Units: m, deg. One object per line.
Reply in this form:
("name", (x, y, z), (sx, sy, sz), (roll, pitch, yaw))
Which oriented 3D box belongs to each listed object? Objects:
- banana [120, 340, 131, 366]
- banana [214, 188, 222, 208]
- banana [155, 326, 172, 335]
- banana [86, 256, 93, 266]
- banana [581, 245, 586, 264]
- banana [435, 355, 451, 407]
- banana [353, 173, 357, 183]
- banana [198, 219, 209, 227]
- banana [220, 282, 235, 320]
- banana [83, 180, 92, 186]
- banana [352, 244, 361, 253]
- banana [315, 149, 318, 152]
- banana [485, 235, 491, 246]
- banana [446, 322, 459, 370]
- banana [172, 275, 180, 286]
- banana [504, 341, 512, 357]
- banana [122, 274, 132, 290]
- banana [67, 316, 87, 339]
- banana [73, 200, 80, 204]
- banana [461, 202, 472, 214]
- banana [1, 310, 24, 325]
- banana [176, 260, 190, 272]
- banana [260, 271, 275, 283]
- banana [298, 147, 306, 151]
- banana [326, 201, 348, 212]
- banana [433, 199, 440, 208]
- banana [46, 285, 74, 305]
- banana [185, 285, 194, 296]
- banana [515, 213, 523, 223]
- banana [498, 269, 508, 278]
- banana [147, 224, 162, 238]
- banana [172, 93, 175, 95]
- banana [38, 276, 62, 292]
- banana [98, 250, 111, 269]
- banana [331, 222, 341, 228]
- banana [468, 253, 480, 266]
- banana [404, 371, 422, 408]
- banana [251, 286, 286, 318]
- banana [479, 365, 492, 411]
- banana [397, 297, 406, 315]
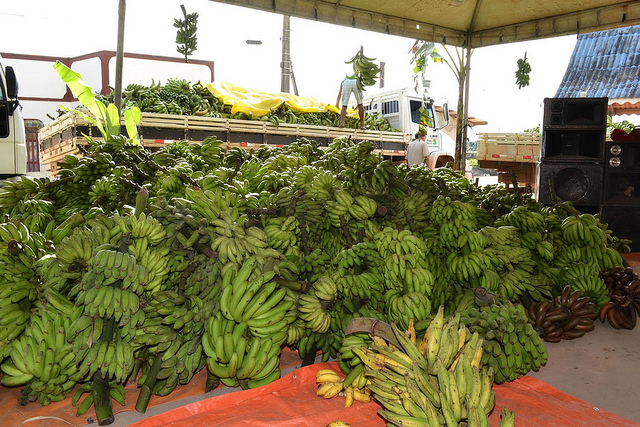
("banana", (-1.133, 0.810, 2.769), (0.040, 0.121, 0.062), (-19, -18, 27))
("banana", (-0.674, -0.104, 3.147), (0.032, 0.131, 0.042), (-14, -20, 31))
("banana", (-0.938, 0.696, 2.829), (0.095, 0.033, 0.032), (-6, 54, -38))
("banana", (-1.361, 0.275, 2.787), (0.014, 0.061, 0.023), (37, 13, -53))
("banana", (2.391, 0.364, 4.252), (0.050, 0.157, 0.030), (2, -4, -24))
("banana", (0.642, 0.878, 2.472), (0.053, 0.219, 0.041), (2, -23, -22))
("banana", (0.281, -0.271, 3.598), (0.029, 0.064, 0.048), (2, 13, -2))
("banana", (-0.720, 0.058, 2.940), (0.043, 0.053, 0.085), (4, 13, 7))
("banana", (-0.555, 0.528, 2.839), (0.080, 0.207, 0.075), (-1, 13, -14))
("banana", (-1.814, -0.239, 3.675), (0.054, 0.025, 0.012), (-4, 14, -28))
("banana", (0.262, 0.237, 3.242), (0.058, 0.032, 0.029), (40, 12, 25))
("banana", (-0.018, -0.571, 4.272), (0.008, 0.030, 0.006), (6, -5, 36))
("banana", (1.270, 0.203, 3.514), (0.026, 0.080, 0.021), (21, -44, -25))
("banana", (0.775, 0.729, 2.692), (0.088, 0.280, 0.059), (0, -26, 30))
("banana", (-0.911, 0.426, 3.003), (0.029, 0.058, 0.020), (42, -8, -27))
("banana", (1.235, 0.877, 3.050), (0.050, 0.086, 0.025), (0, 13, -11))
("banana", (-1.095, 0.391, 2.684), (0.041, 0.079, 0.024), (27, -17, -24))
("banana", (-1.392, 0.653, 2.711), (0.045, 0.159, 0.057), (36, -7, -6))
("banana", (-1.883, -0.089, 3.641), (0.041, 0.028, 0.021), (-3, 14, -23))
("banana", (1.105, -0.052, 3.523), (0.040, 0.031, 0.155), (-18, 26, -1))
("banana", (-1.897, 0.630, 2.895), (0.043, 0.040, 0.132), (-38, -6, 39))
("banana", (-0.855, 0.332, 2.986), (0.097, 0.027, 0.034), (-45, 14, -18))
("banana", (-0.310, 0.385, 2.907), (0.101, 0.032, 0.032), (-31, -13, -48))
("banana", (-0.159, -0.581, 4.261), (0.038, 0.028, 0.009), (-10, -2, 28))
("banana", (0.140, -0.053, 3.362), (0.135, 0.049, 0.027), (21, 4, 16))
("banana", (0.878, -0.076, 3.500), (0.045, 0.052, 0.059), (0, 13, -9))
("banana", (-1.605, 0.497, 2.914), (0.172, 0.108, 0.047), (5, 13, 10))
("banana", (-0.811, 0.481, 2.933), (0.023, 0.087, 0.022), (38, 10, 12))
("banana", (1.694, 0.039, 3.956), (0.026, 0.064, 0.054), (-3, 14, -23))
("banana", (1.468, 0.474, 3.714), (0.010, 0.039, 0.037), (40, 4, -30))
("banana", (-0.990, 0.106, 2.850), (0.086, 0.072, 0.023), (-8, 16, -38))
("banana", (-3.376, -2.748, 10.926), (0.051, 0.053, 0.013), (4, 7, -5))
("banana", (-1.667, 0.432, 2.920), (0.134, 0.047, 0.042), (-28, -45, 12))
("banana", (-1.207, 0.249, 2.680), (0.027, 0.116, 0.038), (30, -44, -16))
("banana", (0.129, 0.071, 3.393), (0.050, 0.028, 0.078), (-7, 5, -31))
("banana", (1.110, 0.324, 3.343), (0.045, 0.061, 0.092), (-9, 18, -42))
("banana", (0.487, 0.910, 2.504), (0.086, 0.175, 0.138), (-1, 13, -12))
("banana", (-0.317, 0.544, 2.885), (0.073, 0.218, 0.045), (40, -19, 27))
("banana", (0.902, 0.942, 2.533), (0.075, 0.240, 0.060), (-14, -28, 42))
("banana", (0.543, 0.597, 3.079), (0.037, 0.031, 0.118), (4, 48, -13))
